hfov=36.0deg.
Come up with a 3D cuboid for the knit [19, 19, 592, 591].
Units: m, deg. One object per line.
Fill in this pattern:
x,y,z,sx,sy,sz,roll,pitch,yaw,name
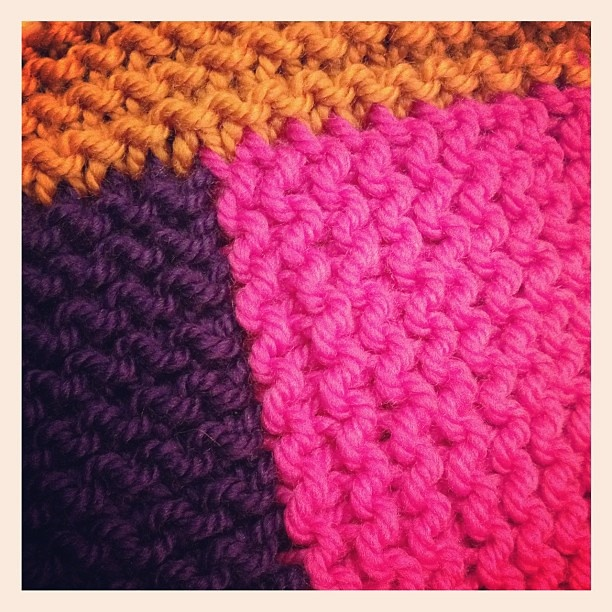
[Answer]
-0.015,0.017,0.883,0.378,0.509,0.122,-1,2,-3,knit
